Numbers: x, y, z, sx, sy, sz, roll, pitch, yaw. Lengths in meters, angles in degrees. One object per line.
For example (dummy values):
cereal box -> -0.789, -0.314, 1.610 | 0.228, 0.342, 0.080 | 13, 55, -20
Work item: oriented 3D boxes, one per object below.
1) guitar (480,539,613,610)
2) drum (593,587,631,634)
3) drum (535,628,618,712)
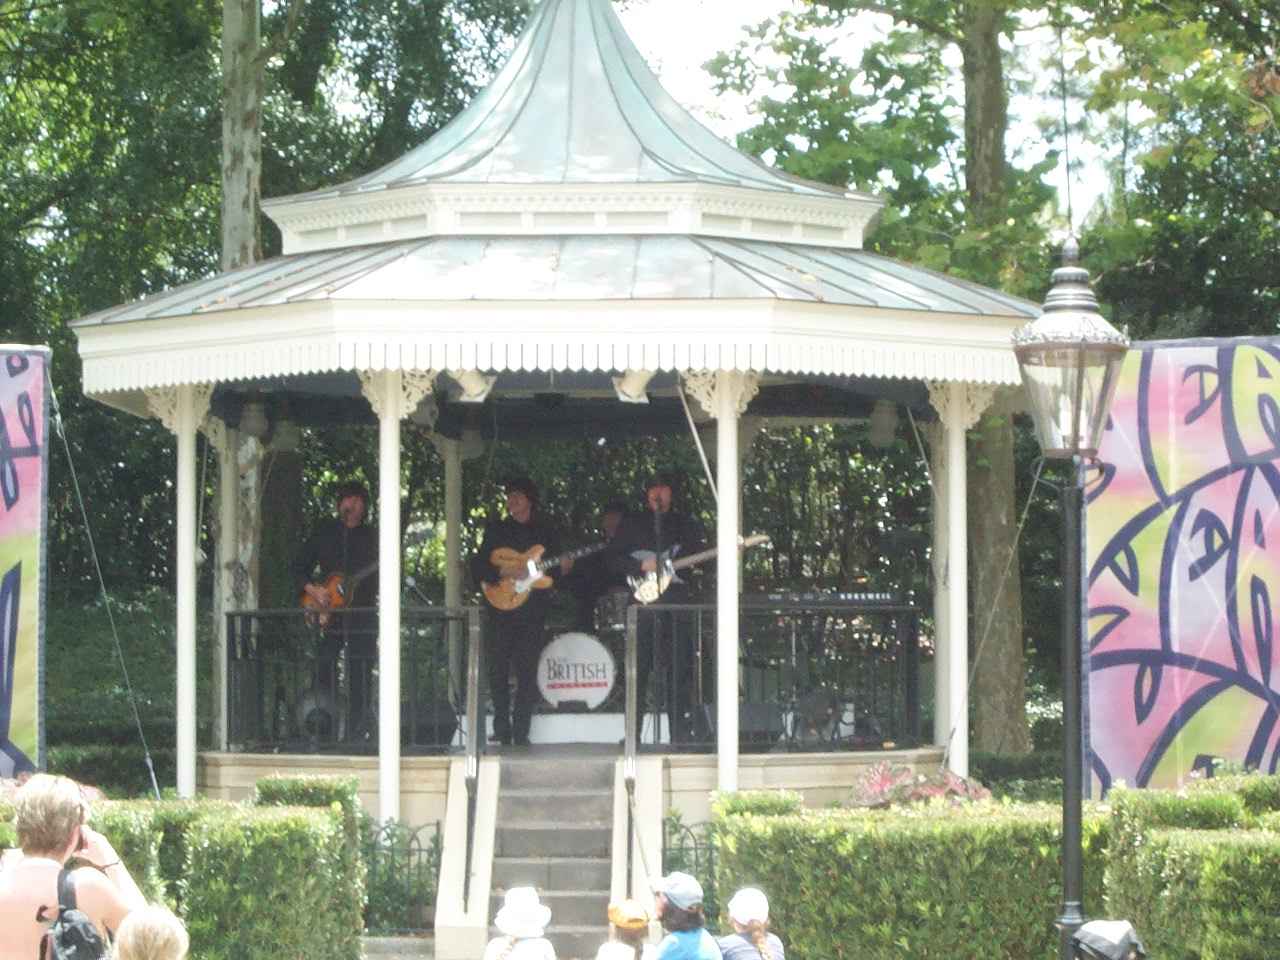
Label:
guitar -> -1.319, 1.105, 42.649 | 0.974, 0.796, 0.810 | -1, 0, 17
drum -> -0.380, 1.527, 42.640 | 0.434, 0.431, 0.447 | 1, -13, 0
drum -> -0.786, 2.209, 42.191 | 0.874, 0.849, 0.298 | 0, -7, -3
